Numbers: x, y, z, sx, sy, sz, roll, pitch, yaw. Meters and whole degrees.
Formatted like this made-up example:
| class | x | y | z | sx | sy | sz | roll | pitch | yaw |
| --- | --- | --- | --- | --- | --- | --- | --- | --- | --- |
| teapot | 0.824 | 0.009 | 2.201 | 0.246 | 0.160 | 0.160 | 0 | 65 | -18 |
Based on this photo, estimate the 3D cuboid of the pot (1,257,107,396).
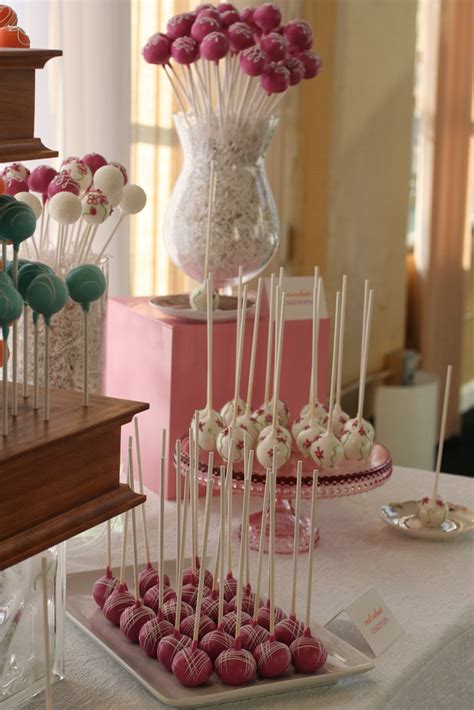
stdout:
| class | x | y | z | sx | sy | sz | roll | pitch | yaw |
| --- | --- | --- | --- | --- | --- | --- | --- | --- | --- |
| pot | -0.243 | -0.029 | 0.806 | 0.123 | 0.179 | 0.114 | -10 | -19 | -3 |

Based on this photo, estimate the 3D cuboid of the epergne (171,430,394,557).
| class | x | y | z | sx | sy | sz | roll | pitch | yaw |
| --- | --- | --- | --- | --- | --- | --- | --- | --- | --- |
| epergne | 0.050 | 0.174 | 0.833 | 0.265 | 0.102 | 0.260 | 0 | 2 | -31 |

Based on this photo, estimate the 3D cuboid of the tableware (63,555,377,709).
| class | x | y | z | sx | sy | sz | roll | pitch | yaw |
| --- | --- | --- | --- | --- | --- | --- | --- | --- | --- |
| tableware | -0.032 | 0.235 | 0.589 | 0.180 | 0.029 | 0.245 | -2 | 8 | -32 |

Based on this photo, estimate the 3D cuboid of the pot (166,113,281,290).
| class | x | y | z | sx | sy | sz | roll | pitch | yaw |
| --- | --- | --- | --- | --- | --- | --- | --- | --- | --- |
| pot | -0.025 | -0.240 | 1.044 | 0.196 | 0.252 | 0.183 | 3 | 22 | -1 |

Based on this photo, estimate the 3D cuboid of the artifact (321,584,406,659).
| class | x | y | z | sx | sy | sz | roll | pitch | yaw |
| --- | --- | --- | --- | --- | --- | --- | --- | --- | --- |
| artifact | 0.117 | 0.235 | 0.641 | 0.056 | 0.057 | 0.060 | -15 | 28 | -43 |
